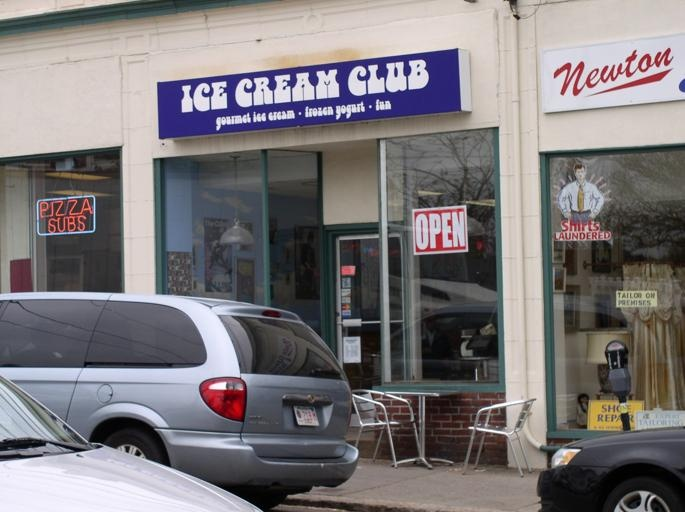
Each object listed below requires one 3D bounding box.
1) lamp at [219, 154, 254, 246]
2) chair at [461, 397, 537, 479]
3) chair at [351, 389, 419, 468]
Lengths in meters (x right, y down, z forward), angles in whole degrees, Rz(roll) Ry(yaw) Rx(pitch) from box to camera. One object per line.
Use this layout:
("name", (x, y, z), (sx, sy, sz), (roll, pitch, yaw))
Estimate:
("lamp", (-1.683, -0.837, 15.739), (0.604, 1.390, 0.202), (-3, -6, 30))
("chair", (2.044, 2.393, 13.355), (0.975, 0.984, 0.860), (-4, -7, 32))
("chair", (0.587, 2.382, 14.066), (0.860, 1.089, 0.863), (-6, -7, 11))
